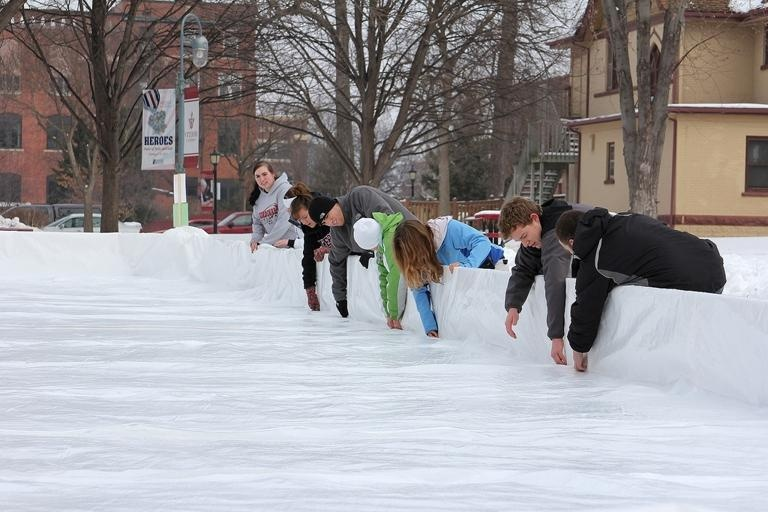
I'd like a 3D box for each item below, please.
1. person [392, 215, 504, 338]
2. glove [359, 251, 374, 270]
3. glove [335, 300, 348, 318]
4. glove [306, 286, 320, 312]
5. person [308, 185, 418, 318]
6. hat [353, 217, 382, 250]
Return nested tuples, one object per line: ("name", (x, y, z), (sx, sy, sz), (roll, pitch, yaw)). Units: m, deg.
("person", (0.667, 0.237, 11.360), (1.301, 1.327, 0.667), (-1, 8, -11))
("glove", (-0.239, 0.042, 12.476), (0.144, 0.210, 0.160), (15, 7, 44))
("glove", (-0.520, 0.653, 12.841), (0.183, 0.196, 0.150), (1, 13, 19))
("glove", (-0.937, 0.563, 13.420), (0.172, 0.303, 0.088), (-6, 5, -26))
("person", (-0.262, -0.058, 12.341), (1.201, 1.477, 1.181), (-9, -3, -17))
("hat", (-0.198, -0.273, 11.666), (0.262, 0.288, 0.351), (-41, 12, 18))
